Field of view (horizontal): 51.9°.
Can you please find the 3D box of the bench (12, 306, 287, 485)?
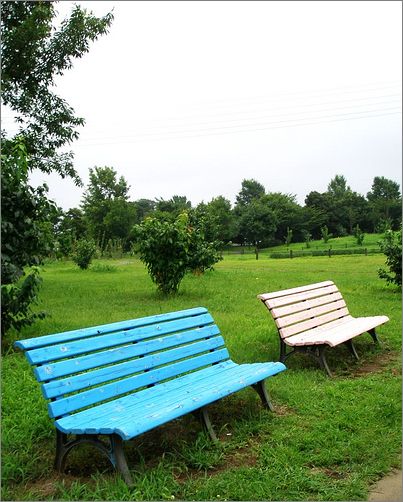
[{"bbox_3d":[-0.291,0.797,2.984,0.791,0.579,1.789,0,2,37],"label":"bench"}]
